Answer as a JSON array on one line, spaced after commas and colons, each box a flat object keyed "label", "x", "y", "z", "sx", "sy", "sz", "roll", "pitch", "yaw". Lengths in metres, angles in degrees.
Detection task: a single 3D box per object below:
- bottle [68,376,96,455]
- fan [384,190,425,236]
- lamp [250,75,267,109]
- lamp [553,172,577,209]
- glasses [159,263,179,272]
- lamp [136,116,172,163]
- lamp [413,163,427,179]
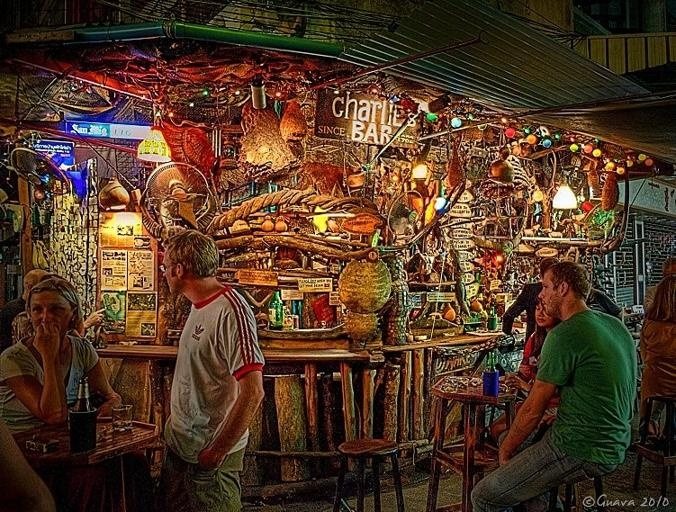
[{"label": "bottle", "x": -1.914, "y": 1.182, "z": 4.903, "sx": 0.187, "sy": 0.531, "sz": 0.199, "roll": 1, "pitch": 2, "yaw": 0}, {"label": "fan", "x": 0.898, "y": -0.567, "z": 8.806, "sx": 0.244, "sy": 0.618, "sz": 0.622, "roll": 2, "pitch": 3, "yaw": 32}, {"label": "lamp", "x": -1.005, "y": -2.054, "z": 8.266, "sx": 0.164, "sy": 0.357, "sz": 0.312, "roll": 1, "pitch": 2, "yaw": -3}, {"label": "lamp", "x": 3.753, "y": -1.095, "z": 10.812, "sx": 0.365, "sy": 0.666, "sz": 1.435, "roll": 2, "pitch": 2, "yaw": 19}, {"label": "glasses", "x": -1.542, "y": 0.107, "z": 5.963, "sx": 0.108, "sy": 0.033, "sz": 0.114, "roll": -5, "pitch": -9, "yaw": 40}, {"label": "lamp", "x": -2.314, "y": -1.422, "z": 8.170, "sx": 0.441, "sy": 0.384, "sz": 0.451, "roll": 4, "pitch": 1, "yaw": 33}, {"label": "lamp", "x": 1.094, "y": -1.139, "z": 8.937, "sx": 0.183, "sy": 0.181, "sz": 0.207, "roll": 13, "pitch": 28, "yaw": -16}]
